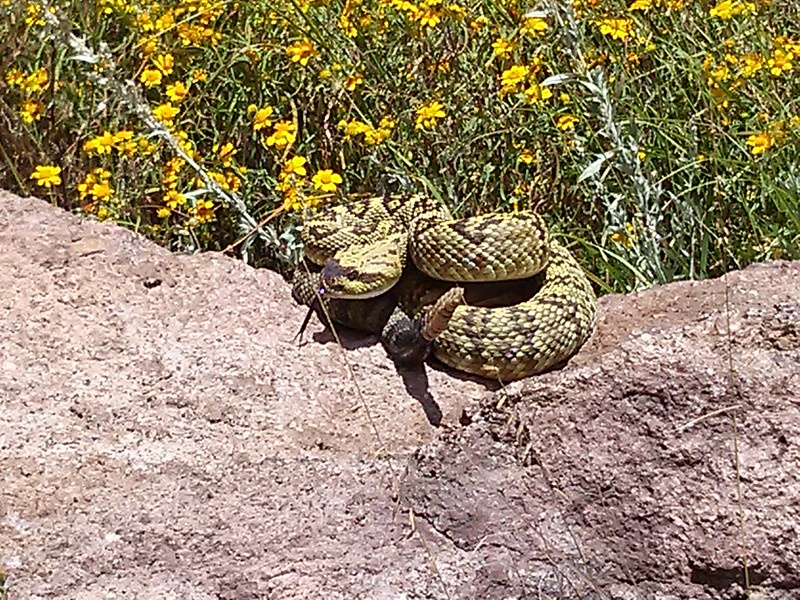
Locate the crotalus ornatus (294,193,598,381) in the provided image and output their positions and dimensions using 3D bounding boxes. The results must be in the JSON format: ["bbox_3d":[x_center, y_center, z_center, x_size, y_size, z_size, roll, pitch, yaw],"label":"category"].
[{"bbox_3d":[0.236,-0.169,5.117,1.680,0.691,1.163,28,38,31],"label":"crotalus ornatus"}]
